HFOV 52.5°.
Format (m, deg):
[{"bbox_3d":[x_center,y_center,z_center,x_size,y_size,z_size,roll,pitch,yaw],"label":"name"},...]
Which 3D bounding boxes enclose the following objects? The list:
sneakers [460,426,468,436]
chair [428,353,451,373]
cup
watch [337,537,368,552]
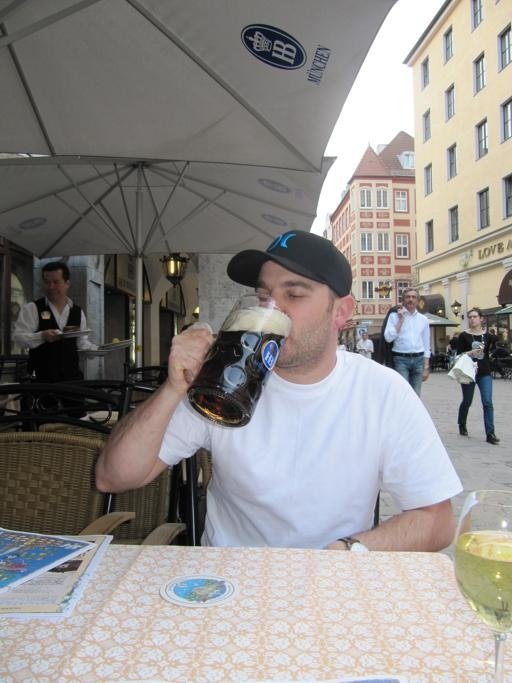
[{"bbox_3d":[2.780,1.212,6.969,0.058,0.103,0.156,-3,-20,10],"label":"sneakers"},{"bbox_3d":[8.413,0.943,23.707,0.916,1.168,1.025,-8,-29,25],"label":"chair"},{"bbox_3d":[-0.038,0.054,1.176,0.244,0.314,0.198,-1,4,-1],"label":"cup"},{"bbox_3d":[0.221,0.468,1.196,0.063,0.019,0.045,11,-9,-18],"label":"watch"}]
